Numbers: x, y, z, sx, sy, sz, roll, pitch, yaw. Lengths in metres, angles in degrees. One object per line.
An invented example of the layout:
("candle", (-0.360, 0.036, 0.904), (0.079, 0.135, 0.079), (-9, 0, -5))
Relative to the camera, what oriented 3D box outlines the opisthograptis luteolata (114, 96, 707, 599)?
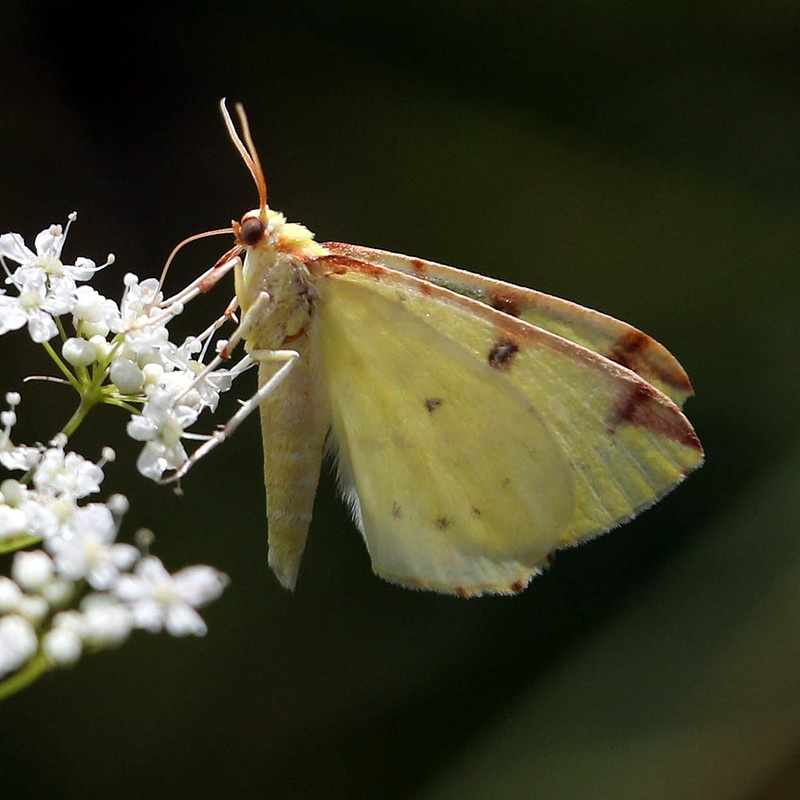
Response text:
("opisthograptis luteolata", (0.154, -0.062, 2.794), (1.240, 1.243, 0.570), (-11, -11, -11))
